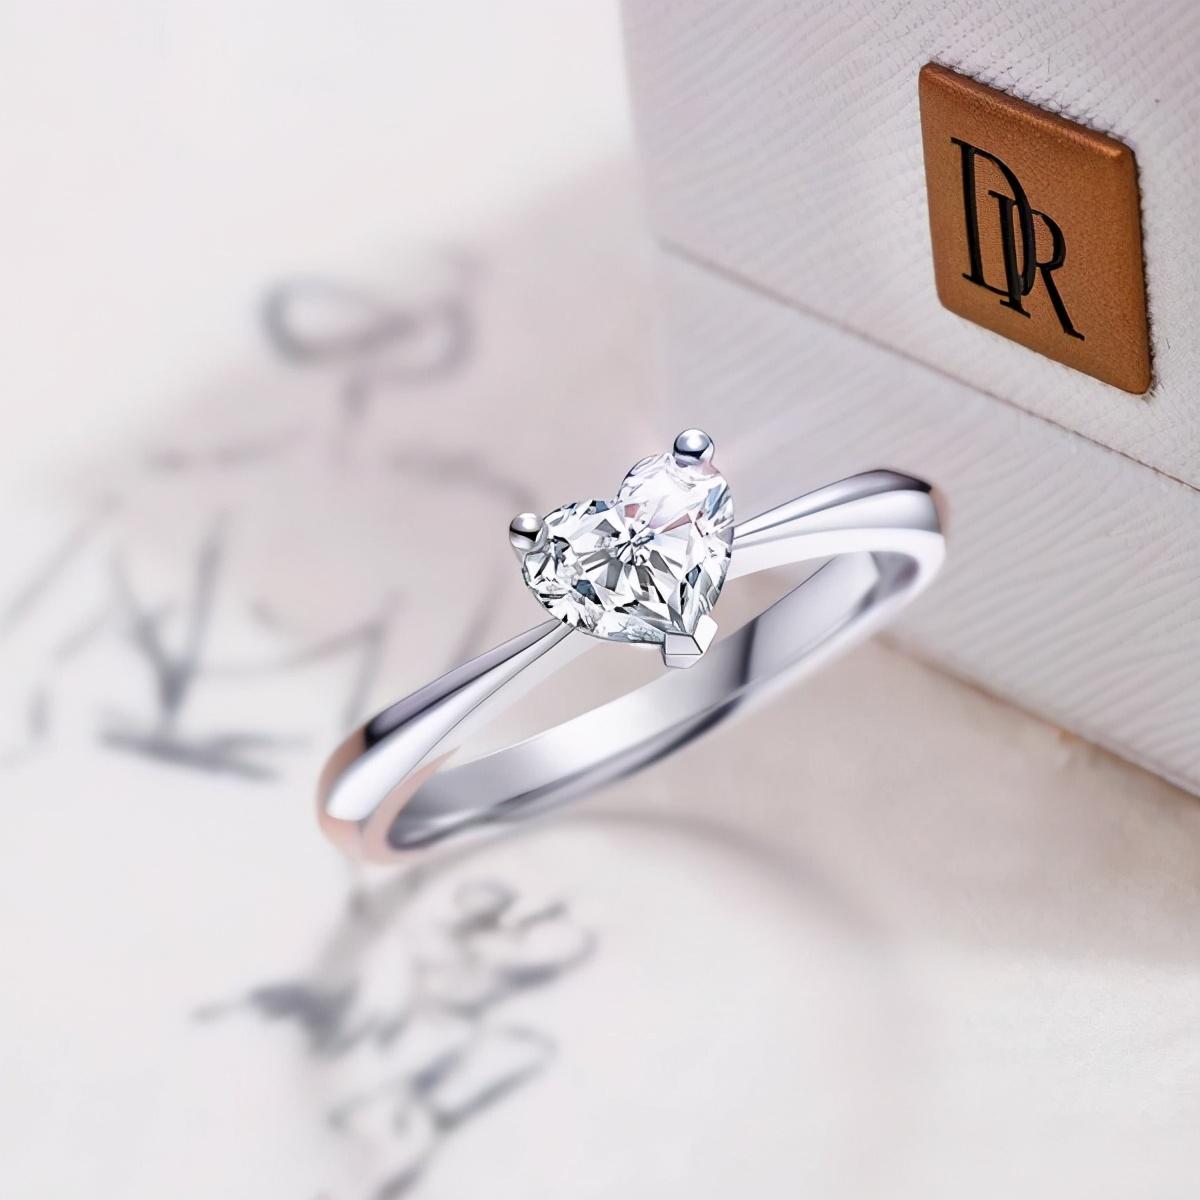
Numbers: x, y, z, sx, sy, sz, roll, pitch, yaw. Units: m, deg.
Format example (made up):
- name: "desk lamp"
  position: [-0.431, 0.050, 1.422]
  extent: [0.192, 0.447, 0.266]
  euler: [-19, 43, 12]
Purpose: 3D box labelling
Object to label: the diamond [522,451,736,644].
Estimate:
- name: "diamond"
  position: [0.013, -0.016, 0.583]
  extent: [0.090, 0.082, 0.046]
  euler: [-6, 7, -1]
